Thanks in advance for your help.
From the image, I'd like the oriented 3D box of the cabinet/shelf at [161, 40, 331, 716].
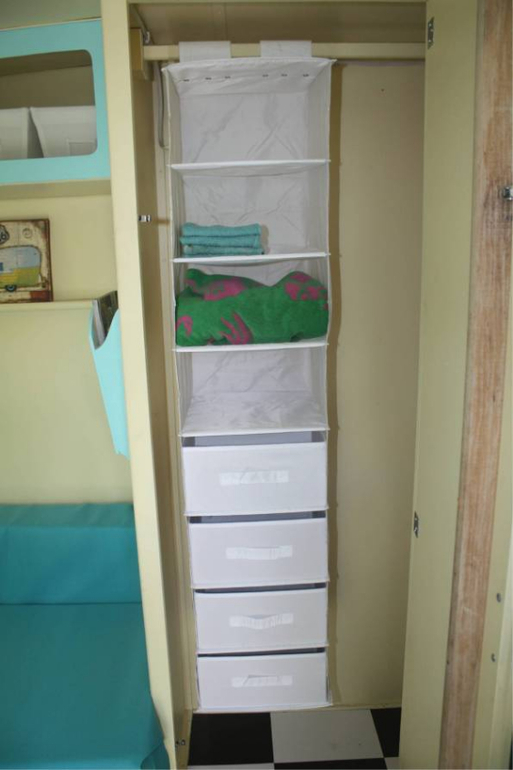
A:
[{"bbox_3d":[0.023,0.160,1.879,0.533,2.163,0.452,-5,12,-3],"label":"cabinet/shelf"}]
